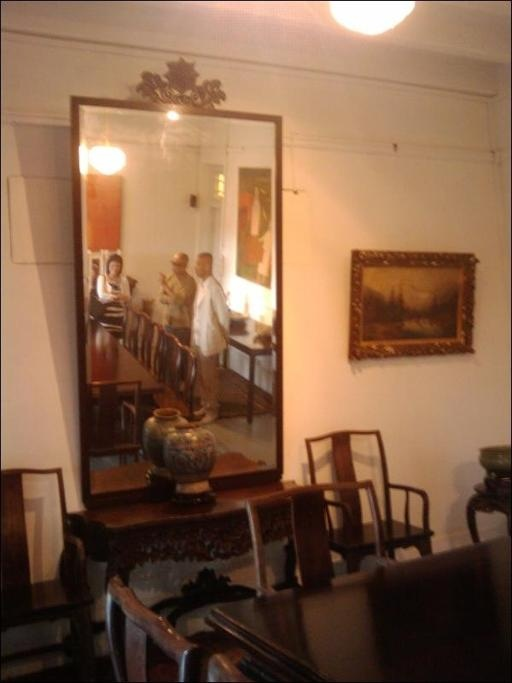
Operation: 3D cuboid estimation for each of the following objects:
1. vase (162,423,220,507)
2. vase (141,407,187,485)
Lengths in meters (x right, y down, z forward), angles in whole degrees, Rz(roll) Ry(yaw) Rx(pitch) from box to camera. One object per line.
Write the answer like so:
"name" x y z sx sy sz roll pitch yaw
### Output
"vase" -0.166 0.308 1.414 0.163 0.282 0.158 -2 -8 -11
"vase" -0.258 0.281 1.531 0.138 0.242 0.142 -3 4 -32
